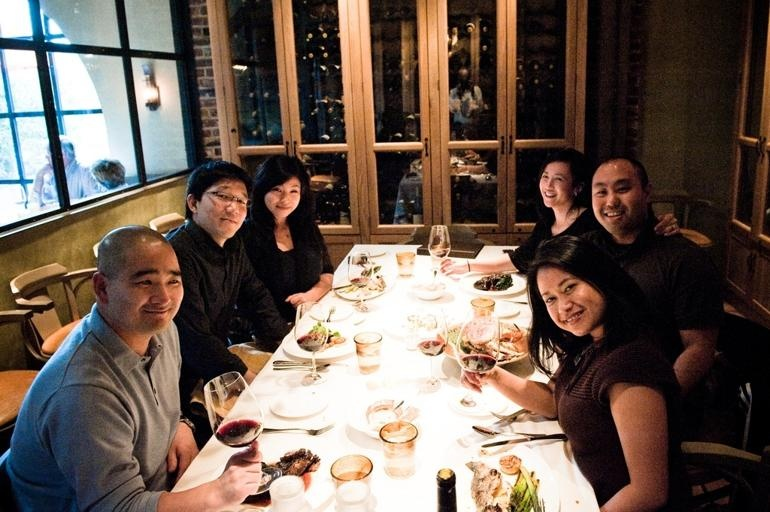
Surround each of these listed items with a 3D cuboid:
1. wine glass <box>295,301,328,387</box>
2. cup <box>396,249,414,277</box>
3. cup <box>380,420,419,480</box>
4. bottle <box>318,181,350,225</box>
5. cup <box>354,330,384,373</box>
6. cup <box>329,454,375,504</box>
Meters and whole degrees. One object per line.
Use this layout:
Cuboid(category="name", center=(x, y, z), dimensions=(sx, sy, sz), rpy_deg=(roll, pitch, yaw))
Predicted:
Cuboid(category="wine glass", center=(-0.299, 0.364, 2.389), dimensions=(0.146, 0.308, 0.132), rpy_deg=(-5, 2, -23))
Cuboid(category="cup", center=(0.114, 0.051, 3.322), dimensions=(0.128, 0.136, 0.126), rpy_deg=(-1, 8, 0))
Cuboid(category="cup", center=(0.055, 0.670, 1.924), dimensions=(0.128, 0.134, 0.121), rpy_deg=(-2, -2, 0))
Cuboid(category="bottle", center=(-0.426, -0.469, 4.874), dimensions=(0.358, 0.316, 0.190), rpy_deg=(0, 10, 4))
Cuboid(category="cup", center=(-0.063, 0.391, 2.340), dimensions=(0.145, 0.155, 0.142), rpy_deg=(-1, 12, 0))
Cuboid(category="cup", center=(-0.111, 0.694, 1.825), dimensions=(0.121, 0.102, 0.131), rpy_deg=(-3, 6, 0))
